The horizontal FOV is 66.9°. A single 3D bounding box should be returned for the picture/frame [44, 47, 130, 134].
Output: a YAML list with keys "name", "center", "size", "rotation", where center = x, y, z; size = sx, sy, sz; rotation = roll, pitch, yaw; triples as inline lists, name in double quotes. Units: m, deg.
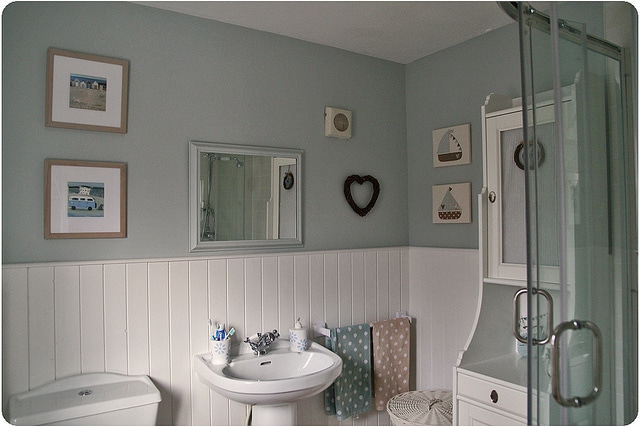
- name: "picture/frame"
  center: [-1.387, -0.712, 2.830]
  size: [0.497, 0.556, 0.021]
  rotation: [4, -6, -32]

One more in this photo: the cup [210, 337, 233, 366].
- name: "cup"
  center: [-0.633, 0.868, 3.055]
  size: [0.127, 0.149, 0.149]
  rotation: [3, -9, -10]

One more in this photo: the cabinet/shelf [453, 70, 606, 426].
- name: "cabinet/shelf"
  center: [0.960, 0.235, 2.561]
  size: [0.523, 2.042, 1.387]
  rotation: [-1, -3, 14]

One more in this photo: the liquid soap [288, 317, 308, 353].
- name: "liquid soap"
  center: [-0.147, 0.824, 3.285]
  size: [0.132, 0.206, 0.135]
  rotation: [-2, -1, 16]

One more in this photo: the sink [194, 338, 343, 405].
- name: "sink"
  center: [-0.308, 0.982, 2.957]
  size: [0.870, 0.283, 0.519]
  rotation: [0, -3, -19]

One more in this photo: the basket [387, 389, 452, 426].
- name: "basket"
  center: [0.649, 1.276, 3.165]
  size: [0.417, 0.128, 0.389]
  rotation: [-2, -4, 13]

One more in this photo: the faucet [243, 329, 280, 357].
- name: "faucet"
  center: [-0.380, 0.838, 3.156]
  size: [0.206, 0.145, 0.072]
  rotation: [-2, 4, -21]

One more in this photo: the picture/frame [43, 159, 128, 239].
- name: "picture/frame"
  center: [-1.386, -0.082, 2.811]
  size: [0.445, 0.544, 0.021]
  rotation: [1, -4, -29]

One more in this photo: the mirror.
- name: "mirror"
  center: [-0.473, -0.098, 3.242]
  size: [0.805, 0.702, 0.045]
  rotation: [-1, 4, -27]

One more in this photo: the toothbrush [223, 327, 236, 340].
- name: "toothbrush"
  center: [-0.576, 0.769, 3.082]
  size: [0.022, 0.032, 0.112]
  rotation: [-14, 16, 10]
